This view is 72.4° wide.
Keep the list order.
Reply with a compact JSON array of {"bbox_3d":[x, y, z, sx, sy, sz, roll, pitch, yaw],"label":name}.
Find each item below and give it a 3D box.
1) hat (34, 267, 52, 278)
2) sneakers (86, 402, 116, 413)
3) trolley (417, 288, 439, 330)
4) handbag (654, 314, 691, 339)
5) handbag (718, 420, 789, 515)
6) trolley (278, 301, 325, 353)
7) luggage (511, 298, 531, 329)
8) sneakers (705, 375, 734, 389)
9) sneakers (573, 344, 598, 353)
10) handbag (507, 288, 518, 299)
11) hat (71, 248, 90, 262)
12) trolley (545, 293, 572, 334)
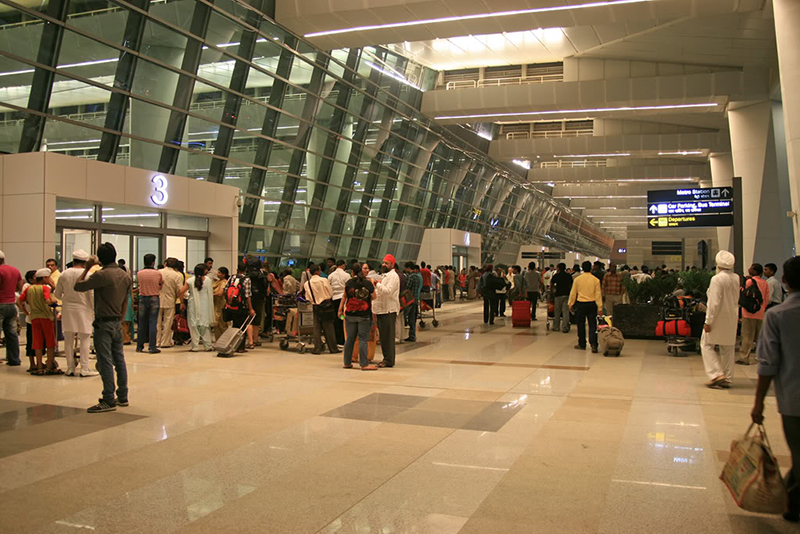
[{"bbox_3d":[-6.802,0.133,10.353,0.295,0.157,0.215,-7,4,3],"label":"hat"},{"bbox_3d":[-4.205,1.996,7.751,0.365,0.149,0.155,3,-4,-11],"label":"sneakers"},{"bbox_3d":[0.751,1.493,19.035,0.799,1.219,0.994,-3,-4,39],"label":"trolley"},{"bbox_3d":[6.257,1.384,12.488,0.556,0.587,0.678,6,-5,-44],"label":"handbag"},{"bbox_3d":[3.018,1.772,4.636,0.483,0.808,0.428,0,1,17],"label":"handbag"},{"bbox_3d":[-2.556,1.440,13.553,1.203,1.149,1.269,5,-8,-29],"label":"trolley"},{"bbox_3d":[4.110,1.619,18.611,0.812,1.106,0.607,-1,-15,4],"label":"luggage"},{"bbox_3d":[5.352,1.953,9.210,0.432,0.156,0.176,3,2,-25],"label":"sneakers"},{"bbox_3d":[4.526,2.022,13.399,0.435,0.180,0.146,14,-2,0],"label":"sneakers"},{"bbox_3d":[4.537,1.094,22.504,0.144,0.525,0.557,11,-3,-12],"label":"handbag"},{"bbox_3d":[-6.297,-0.229,10.734,0.341,0.193,0.452,4,4,-41],"label":"hat"},{"bbox_3d":[5.115,1.413,17.698,0.644,0.973,0.737,-7,-9,-17],"label":"trolley"}]
